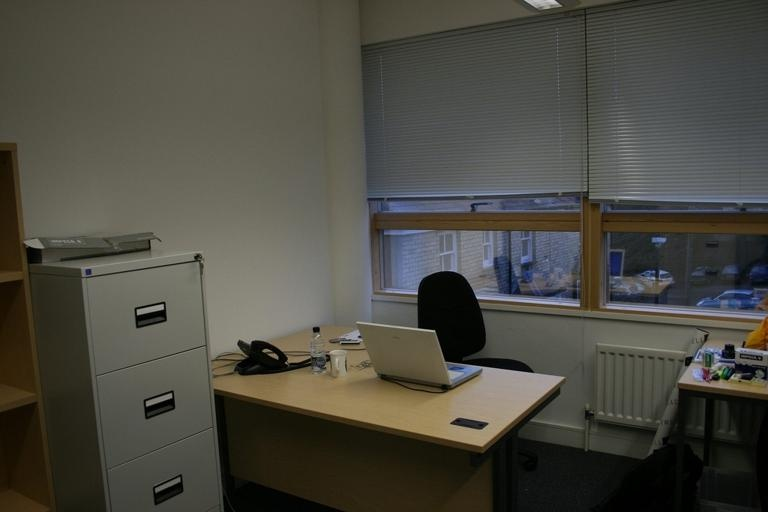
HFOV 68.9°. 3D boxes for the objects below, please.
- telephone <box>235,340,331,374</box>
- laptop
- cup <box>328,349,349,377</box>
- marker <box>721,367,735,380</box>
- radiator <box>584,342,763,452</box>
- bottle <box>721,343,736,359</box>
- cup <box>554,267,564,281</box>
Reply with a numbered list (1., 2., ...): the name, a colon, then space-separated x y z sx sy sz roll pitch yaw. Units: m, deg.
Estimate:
1. telephone: -0.717 0.690 3.702 0.411 0.148 0.284 0 -6 0
2. laptop: 0.230 0.575 3.402 0.562 0.369 0.559 1 2 39
3. cup: -0.284 0.680 3.575 0.109 0.149 0.159 -1 0 -11
4. marker: 2.077 0.710 3.397 0.049 0.022 0.098 -1 16 38
5. radiator: 1.888 0.992 4.089 0.068 0.600 0.928 9 -10 -18
6. bottle: 2.177 0.608 3.547 0.084 0.087 0.088 -6 -1 21
7. cup: 1.380 0.141 4.438 0.096 0.088 0.064 13 12 22
